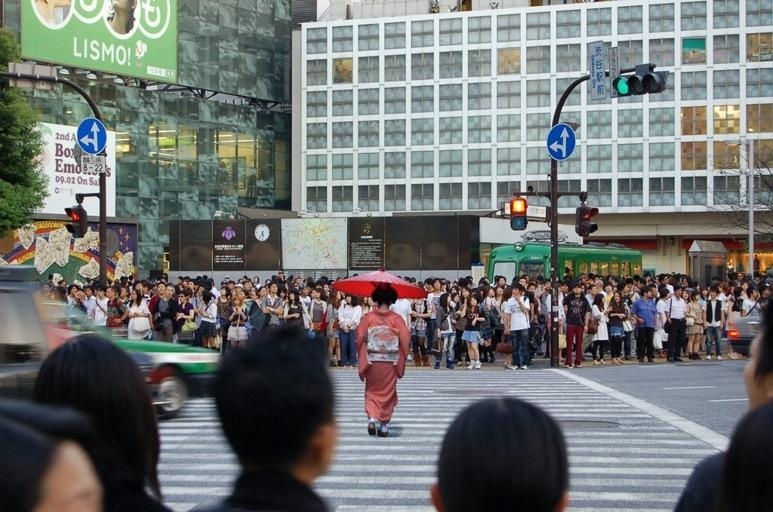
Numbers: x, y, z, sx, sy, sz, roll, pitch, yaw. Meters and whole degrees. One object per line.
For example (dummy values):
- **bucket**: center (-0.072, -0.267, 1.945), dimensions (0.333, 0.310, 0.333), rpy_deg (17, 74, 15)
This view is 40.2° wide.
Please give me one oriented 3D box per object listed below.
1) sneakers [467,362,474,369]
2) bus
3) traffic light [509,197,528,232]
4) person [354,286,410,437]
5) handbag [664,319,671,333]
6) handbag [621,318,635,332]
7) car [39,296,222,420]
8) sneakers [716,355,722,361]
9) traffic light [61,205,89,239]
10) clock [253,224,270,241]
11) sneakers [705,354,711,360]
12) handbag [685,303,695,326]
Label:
- **sneakers**: center (2.759, 3.635, 34.624), dimensions (0.168, 0.201, 0.330), rpy_deg (0, 2, -22)
- **bus**: center (8.957, -0.031, 49.437), dimensions (2.538, 3.427, 10.062), rpy_deg (-2, -3, 42)
- **traffic light**: center (4.325, -1.417, 34.507), dimensions (0.595, 1.075, 0.589), rpy_deg (1, 2, 6)
- **person**: center (-0.108, 2.589, 26.090), dimensions (1.253, 3.666, 0.749), rpy_deg (0, 2, -4)
- **handbag**: center (9.736, 2.463, 36.631), dimensions (0.130, 0.392, 0.269), rpy_deg (4, -8, 6)
- **handbag**: center (8.193, 2.348, 36.123), dimensions (0.330, 0.613, 0.630), rpy_deg (-7, -6, 36)
- **car**: center (-7.102, 2.705, 25.968), dimensions (5.903, 2.511, 2.713), rpy_deg (5, -7, -19)
- **sneakers**: center (11.622, 3.612, 36.873), dimensions (0.108, 0.139, 0.310), rpy_deg (3, -7, 11)
- **traffic light**: center (-10.025, -1.128, 34.157), dimensions (0.613, 1.013, 1.461), rpy_deg (0, 2, -19)
- **clock**: center (-6.156, -1.162, 52.509), dimensions (0.771, 0.978, 0.120), rpy_deg (0, -5, 2)
- **sneakers**: center (11.360, 3.605, 37.358), dimensions (0.143, 0.185, 0.415), rpy_deg (2, 3, 20)
- **handbag**: center (10.542, 2.087, 36.664), dimensions (0.399, 0.613, 0.274), rpy_deg (0, 4, 4)
